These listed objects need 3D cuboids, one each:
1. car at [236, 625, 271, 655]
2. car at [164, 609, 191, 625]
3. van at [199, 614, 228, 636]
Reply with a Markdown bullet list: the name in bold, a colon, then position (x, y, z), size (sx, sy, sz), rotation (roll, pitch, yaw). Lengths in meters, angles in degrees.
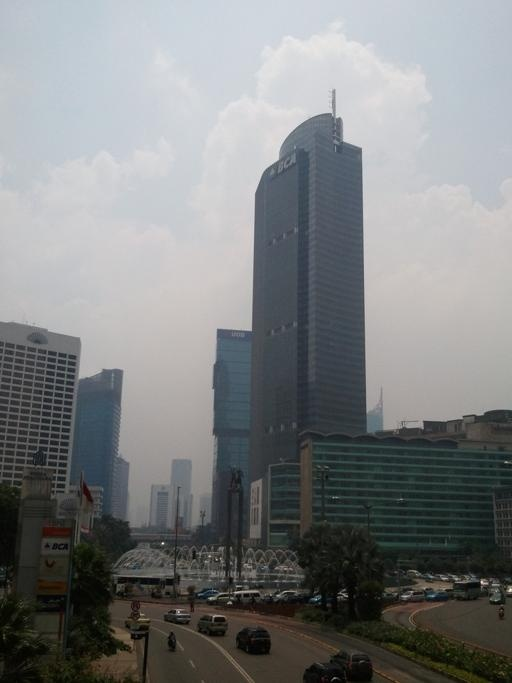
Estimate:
- **car**: position (-0.076, 18.013, 41.960), size (1.317, 1.212, 2.387), rotation (10, -23, -16)
- **car**: position (-7.011, 24.295, 61.854), size (1.234, 0.866, 2.635), rotation (15, -20, -33)
- **van**: position (-3.267, 21.322, 52.675), size (1.448, 1.151, 2.567), rotation (11, -19, -28)
